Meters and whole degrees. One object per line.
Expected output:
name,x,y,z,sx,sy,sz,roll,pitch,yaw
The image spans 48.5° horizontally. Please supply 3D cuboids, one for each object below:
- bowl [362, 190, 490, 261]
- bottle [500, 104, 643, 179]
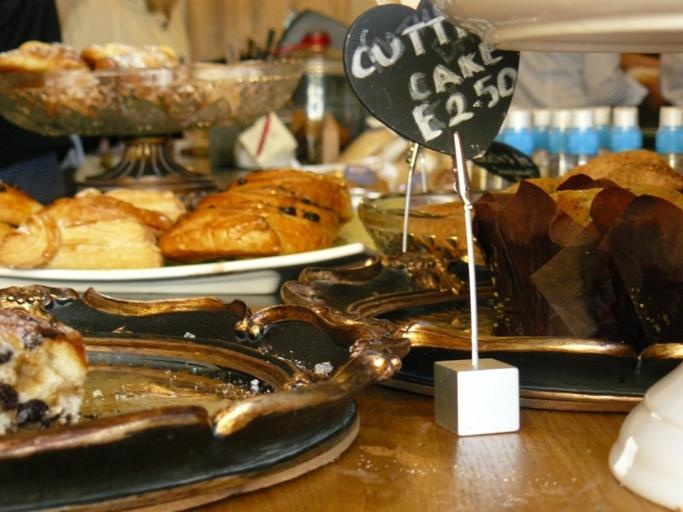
bowl,0.069,-0.034,0.653,0.084,0.026,0.083,0,8,0
bottle,0.465,-0.261,1.705,0.348,0.125,0.325,-2,16,1
